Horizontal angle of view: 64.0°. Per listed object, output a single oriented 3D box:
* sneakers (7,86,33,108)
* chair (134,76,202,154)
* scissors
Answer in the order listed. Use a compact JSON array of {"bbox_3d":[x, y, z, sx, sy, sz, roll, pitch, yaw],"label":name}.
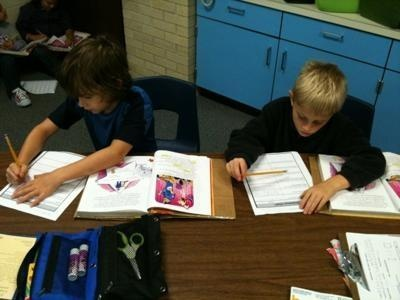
[{"bbox_3d":[-1.741,-0.512,3.144,0.137,0.135,0.296,-37,54,-12],"label":"sneakers"},{"bbox_3d":[-0.127,-0.218,1.910,0.357,0.606,0.429,-1,59,-2],"label":"chair"},{"bbox_3d":[-0.218,0.342,1.056,0.075,0.010,0.130,-14,50,-20],"label":"scissors"}]
